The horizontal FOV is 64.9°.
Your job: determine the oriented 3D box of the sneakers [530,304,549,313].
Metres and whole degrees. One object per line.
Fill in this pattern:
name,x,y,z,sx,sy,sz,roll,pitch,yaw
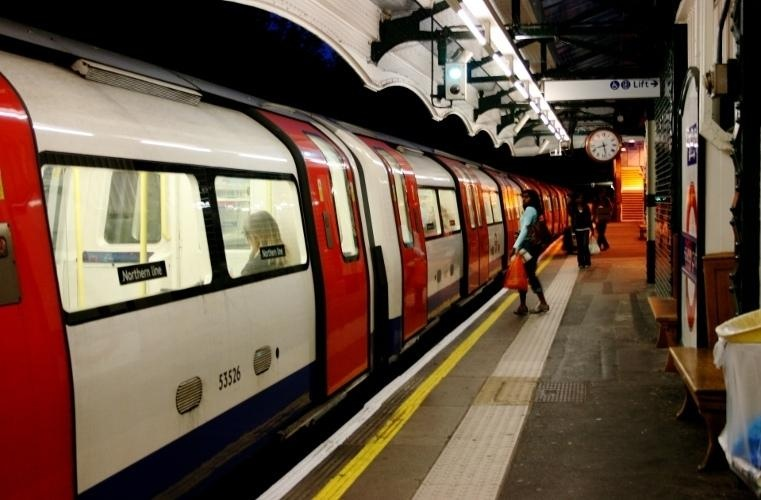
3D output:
sneakers,2.691,0.969,9.949,0.339,0.161,0.132,-2,-1,6

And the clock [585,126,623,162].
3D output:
clock,5.742,-2.686,15.337,0.799,0.888,0.827,-3,8,11

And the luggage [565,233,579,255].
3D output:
luggage,5.893,-0.195,18.335,0.555,0.581,1.020,1,-11,15

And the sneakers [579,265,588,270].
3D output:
sneakers,5.218,0.427,15.206,0.093,0.129,0.408,-9,0,11

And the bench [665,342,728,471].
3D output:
bench,2.694,1.348,5.042,0.297,0.404,1.074,0,3,15
